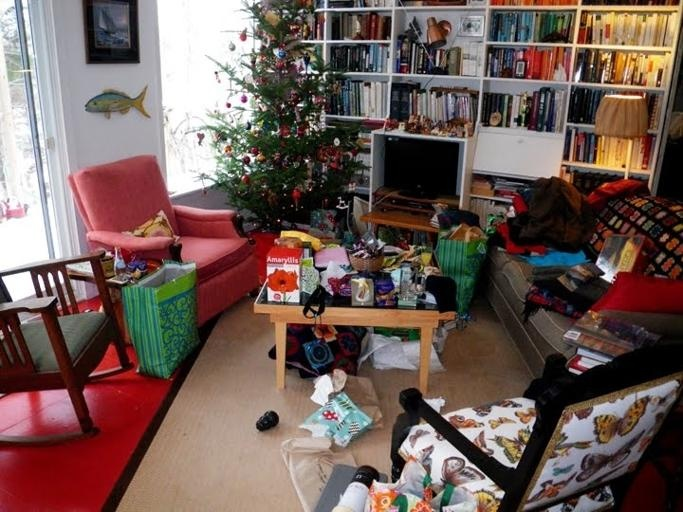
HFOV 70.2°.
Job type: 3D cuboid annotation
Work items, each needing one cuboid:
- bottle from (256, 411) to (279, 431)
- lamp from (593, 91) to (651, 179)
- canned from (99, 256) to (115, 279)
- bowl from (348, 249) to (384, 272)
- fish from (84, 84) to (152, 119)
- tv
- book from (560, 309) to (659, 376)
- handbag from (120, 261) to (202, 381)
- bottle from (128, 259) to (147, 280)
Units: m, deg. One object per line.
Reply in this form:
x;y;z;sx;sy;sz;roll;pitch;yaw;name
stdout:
-0.430;0.941;2.802;0.130;0.075;0.131;-1;17;0;bottle
2.444;-1.042;4.249;0.378;0.697;0.554;15;23;42;lamp
-1.636;0.079;3.379;0.105;0.127;0.107;-5;27;-20;canned
0.157;0.028;3.103;0.156;0.082;0.148;2;11;0;bowl
-1.885;-1.303;4.080;0.130;0.309;0.665;30;37;30;fish
0.827;-0.906;4.903;0.558;0.430;0.151;9;21;22;tv
1.307;0.383;2.353;0.415;0.136;0.317;-14;26;-21;book
-1.157;0.424;3.092;0.330;0.681;0.610;3;11;10;handbag
-1.388;0.089;3.299;0.113;0.049;0.117;3;26;-1;bottle
